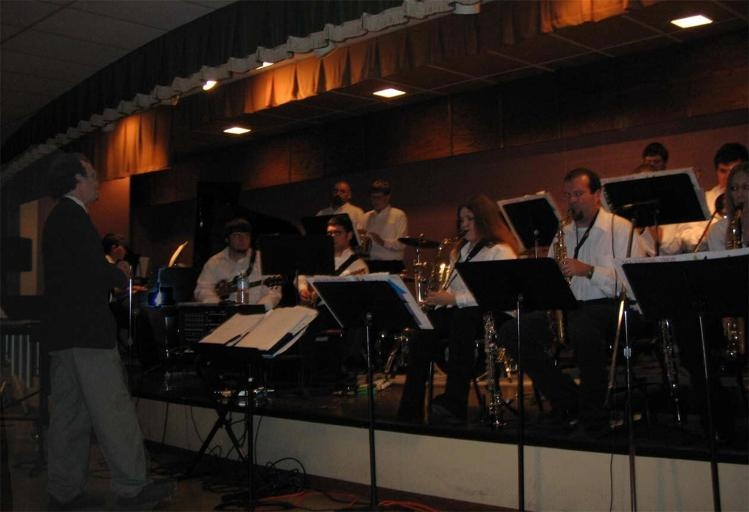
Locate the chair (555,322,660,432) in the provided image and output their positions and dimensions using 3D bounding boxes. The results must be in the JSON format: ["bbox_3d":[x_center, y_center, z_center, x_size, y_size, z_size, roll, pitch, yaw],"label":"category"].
[{"bbox_3d":[1.605,0.835,5.915,0.651,1.139,0.733,0,-16,8],"label":"chair"}]

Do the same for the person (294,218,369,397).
[{"bbox_3d":[-0.397,0.412,7.346,0.634,1.723,0.961,-1,-7,2],"label":"person"}]

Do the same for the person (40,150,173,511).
[{"bbox_3d":[-1.997,0.538,5.623,0.775,2.538,0.398,0,-7,-12],"label":"person"}]
